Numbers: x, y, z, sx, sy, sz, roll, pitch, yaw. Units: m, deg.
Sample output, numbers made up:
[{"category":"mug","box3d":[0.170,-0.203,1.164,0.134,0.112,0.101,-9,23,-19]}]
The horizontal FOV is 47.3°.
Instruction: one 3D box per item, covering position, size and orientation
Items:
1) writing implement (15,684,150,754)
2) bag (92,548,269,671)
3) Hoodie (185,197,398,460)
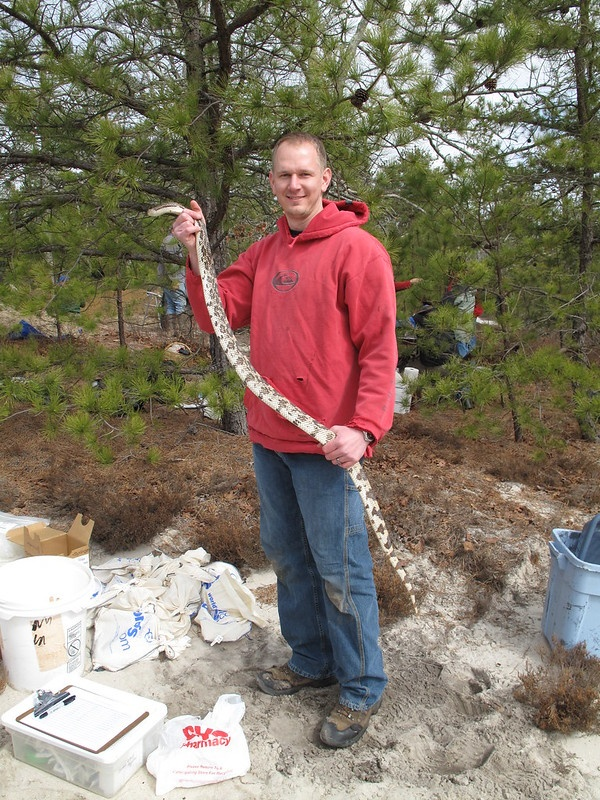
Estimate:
[{"category":"writing implement","box3d":[-0.836,1.220,2.629,0.417,0.182,0.249,2,6,24]},{"category":"bag","box3d":[-0.613,1.083,3.484,0.549,0.123,0.531,2,15,-31]},{"category":"Hoodie","box3d":[0.036,-0.296,2.597,0.412,0.912,0.783,-8,10,-30]}]
